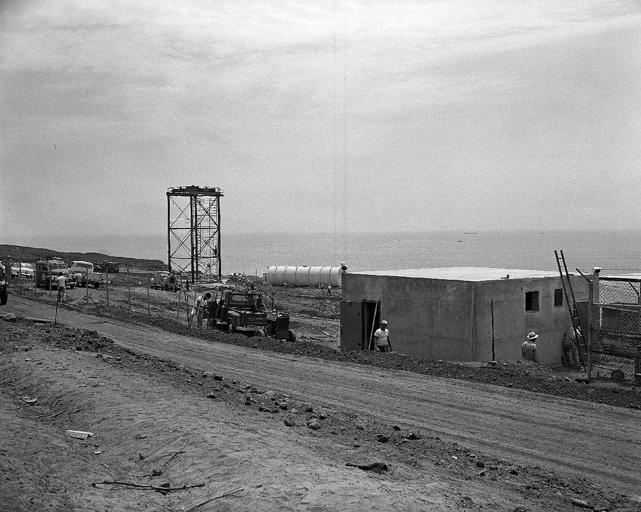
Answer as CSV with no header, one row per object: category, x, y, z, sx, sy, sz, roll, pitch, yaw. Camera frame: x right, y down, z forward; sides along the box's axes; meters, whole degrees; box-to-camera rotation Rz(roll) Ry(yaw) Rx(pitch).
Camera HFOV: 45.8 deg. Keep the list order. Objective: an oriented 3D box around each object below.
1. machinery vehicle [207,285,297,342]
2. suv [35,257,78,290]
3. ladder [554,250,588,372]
machinery vehicle,-2.978,2.694,34.325,3.441,2.500,3.392,1,3,-29
suv,-18.023,1.154,51.917,1.989,2.017,3.597,0,0,-41
ladder,11.076,2.420,33.540,0.973,6.460,1.325,-4,5,-25
